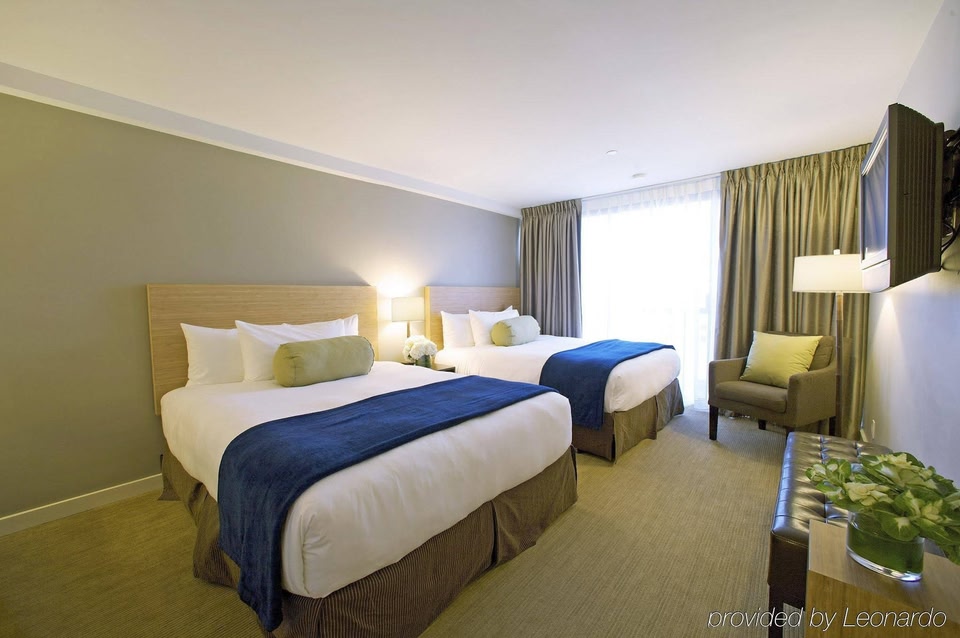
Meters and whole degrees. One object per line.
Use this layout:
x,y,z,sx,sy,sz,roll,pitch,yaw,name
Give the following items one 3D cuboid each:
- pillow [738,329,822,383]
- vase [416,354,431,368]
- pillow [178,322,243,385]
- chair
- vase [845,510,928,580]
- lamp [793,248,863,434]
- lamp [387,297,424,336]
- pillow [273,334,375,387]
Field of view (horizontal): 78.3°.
2.899,0.407,5.776,0.320,0.586,0.617,21,-11,-37,pillow
-0.584,0.451,6.321,0.119,0.220,0.122,-1,2,29,vase
-2.287,0.313,4.995,0.448,0.425,0.157,-7,-8,-44,pillow
2.806,0.677,5.703,0.798,1.078,0.889,-2,8,-36,chair
2.173,1.226,3.223,0.378,0.293,0.381,16,-9,-32,vase
3.108,0.228,5.437,0.571,1.702,0.873,10,17,33,lamp
-0.790,0.033,6.488,0.339,0.626,0.197,-3,21,-10,lamp
-1.353,0.373,5.236,0.409,0.402,0.866,-1,3,41,pillow
